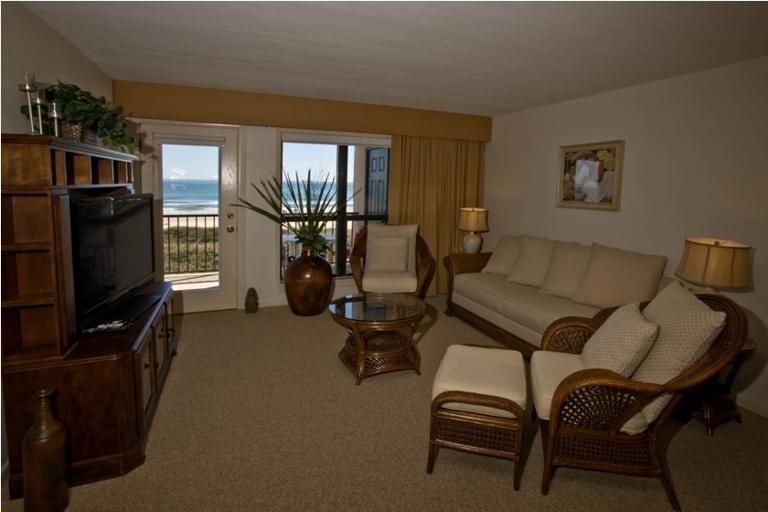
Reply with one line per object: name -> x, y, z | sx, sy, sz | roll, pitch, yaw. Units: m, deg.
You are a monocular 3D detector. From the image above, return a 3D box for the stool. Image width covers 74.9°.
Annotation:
stool -> 0.711, 1.115, 3.732 | 0.688, 0.615, 0.869 | 4, 19, 9

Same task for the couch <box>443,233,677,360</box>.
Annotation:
couch -> 1.682, 0.415, 5.339 | 1.114, 1.197, 2.559 | 3, 9, -22

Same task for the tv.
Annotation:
tv -> -2.053, 0.066, 3.821 | 0.299, 0.781, 1.097 | -1, 12, -10

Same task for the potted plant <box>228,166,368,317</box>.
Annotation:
potted plant -> -1.220, -0.282, 6.569 | 1.810, 1.793, 1.304 | 1, 8, 5

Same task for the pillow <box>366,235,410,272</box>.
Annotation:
pillow -> 0.040, -0.018, 6.108 | 0.481, 0.428, 0.146 | -2, -12, 6

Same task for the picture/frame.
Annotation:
picture/frame -> 2.270, -0.895, 5.470 | 0.064, 0.827, 0.788 | -2, 7, -32

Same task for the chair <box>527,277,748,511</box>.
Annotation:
chair -> 1.803, 0.929, 4.018 | 1.539, 1.654, 1.476 | 0, 13, 10

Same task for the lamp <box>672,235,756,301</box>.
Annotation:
lamp -> 2.678, 0.044, 4.154 | 0.537, 0.374, 0.539 | 2, 7, 6

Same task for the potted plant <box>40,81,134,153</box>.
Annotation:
potted plant -> -2.209, -1.062, 3.812 | 0.330, 0.443, 0.603 | 12, 18, 41

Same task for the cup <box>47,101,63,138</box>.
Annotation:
cup -> -2.305, -0.964, 3.535 | 0.083, 0.234, 0.086 | 0, 14, 0

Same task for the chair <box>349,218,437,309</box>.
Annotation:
chair -> 0.105, 0.058, 6.256 | 1.003, 1.110, 0.996 | 1, 5, -1

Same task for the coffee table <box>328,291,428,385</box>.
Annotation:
coffee table -> -0.043, 0.821, 4.757 | 0.781, 0.529, 0.784 | -12, 2, -4
